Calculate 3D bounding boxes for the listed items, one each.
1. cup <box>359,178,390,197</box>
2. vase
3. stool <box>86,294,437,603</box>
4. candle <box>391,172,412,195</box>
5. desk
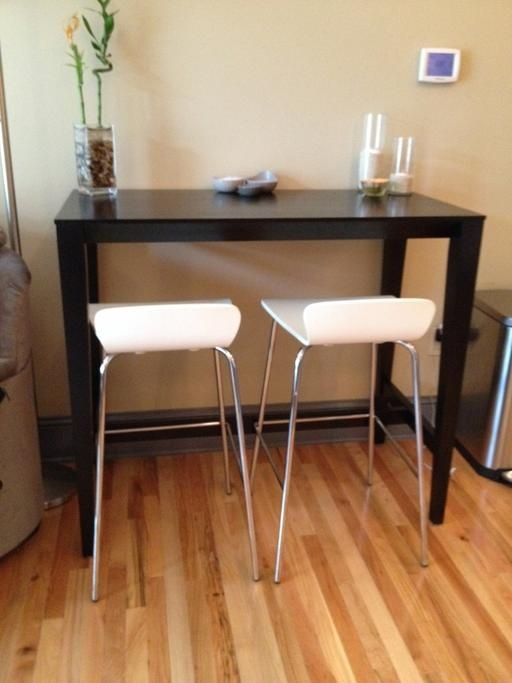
[{"bbox_3d":[0.387,-0.525,1.813,0.066,0.048,0.071,-2,19,1],"label":"cup"},{"bbox_3d":[-0.469,-0.545,1.619,0.130,0.198,0.100,-14,28,-32],"label":"vase"},{"bbox_3d":[0.030,0.197,1.599,1.025,0.870,0.672,-2,24,-10],"label":"stool"},{"bbox_3d":[0.496,-0.543,1.853,0.073,0.080,0.077,2,28,4],"label":"candle"},{"bbox_3d":[0.028,0.067,1.821,1.116,1.045,0.654,-2,18,-8],"label":"desk"}]
